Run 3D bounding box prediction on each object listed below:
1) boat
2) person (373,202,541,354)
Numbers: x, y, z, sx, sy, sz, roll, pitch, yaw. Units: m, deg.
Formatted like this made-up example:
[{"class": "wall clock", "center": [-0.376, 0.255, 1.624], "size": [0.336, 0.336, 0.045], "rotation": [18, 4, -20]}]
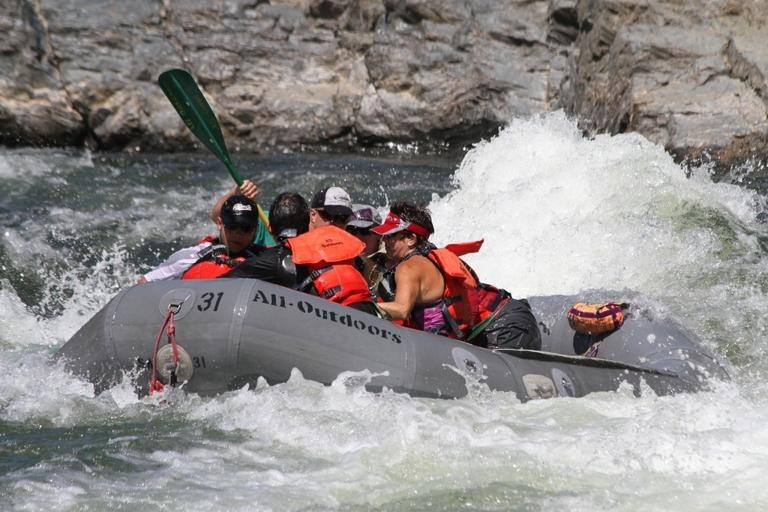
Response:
[{"class": "boat", "center": [0.165, 0.966, 11.126], "size": [4.626, 0.775, 2.471], "rotation": [9, -3, -7]}, {"class": "person", "center": [0.886, 0.340, 11.802], "size": [1.889, 1.133, 1.330], "rotation": [18, 10, 4]}]
